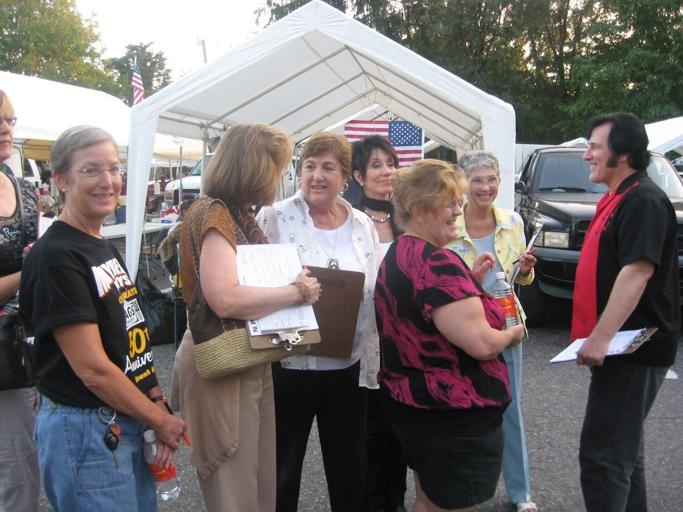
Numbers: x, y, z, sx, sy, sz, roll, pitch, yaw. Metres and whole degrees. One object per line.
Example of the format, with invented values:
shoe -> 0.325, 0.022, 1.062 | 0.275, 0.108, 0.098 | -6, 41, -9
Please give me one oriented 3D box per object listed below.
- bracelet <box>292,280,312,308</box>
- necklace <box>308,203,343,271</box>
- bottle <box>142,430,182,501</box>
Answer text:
bracelet -> -0.190, 0.178, 2.788 | 0.082, 0.111, 0.041 | -5, -6, -34
necklace -> -0.109, -0.103, 3.394 | 0.321, 0.468, 0.244 | 2, -8, -12
bottle -> -0.874, 1.025, 2.749 | 0.117, 0.387, 0.123 | -11, 16, 3
